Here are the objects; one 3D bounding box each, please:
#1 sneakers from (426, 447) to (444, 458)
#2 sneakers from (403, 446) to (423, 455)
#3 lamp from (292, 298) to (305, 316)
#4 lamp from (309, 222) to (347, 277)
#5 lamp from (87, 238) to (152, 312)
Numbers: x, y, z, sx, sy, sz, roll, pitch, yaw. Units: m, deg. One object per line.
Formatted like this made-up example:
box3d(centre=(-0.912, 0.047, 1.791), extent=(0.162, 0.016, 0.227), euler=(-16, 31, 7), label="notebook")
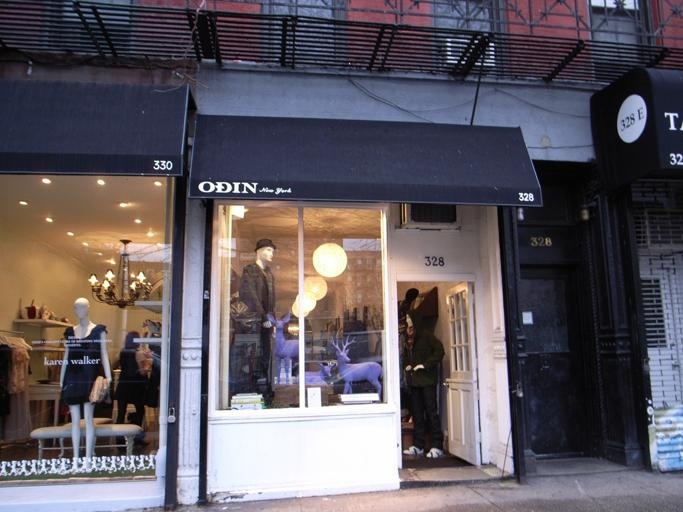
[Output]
box3d(centre=(1.492, 3.089, 10.616), extent=(0.283, 0.142, 0.287), euler=(-4, -11, 4), label="sneakers")
box3d(centre=(1.168, 3.089, 10.726), extent=(0.336, 0.171, 0.140), euler=(1, 0, 1), label="sneakers")
box3d(centre=(-0.619, 0.708, 9.420), extent=(0.099, 0.217, 0.169), euler=(1, -8, 29), label="lamp")
box3d(centre=(-0.202, 0.068, 9.755), extent=(0.411, 0.528, 0.427), euler=(4, -1, -11), label="lamp")
box3d(centre=(-3.068, 0.249, 9.333), extent=(0.703, 0.924, 0.745), euler=(-4, -6, 21), label="lamp")
